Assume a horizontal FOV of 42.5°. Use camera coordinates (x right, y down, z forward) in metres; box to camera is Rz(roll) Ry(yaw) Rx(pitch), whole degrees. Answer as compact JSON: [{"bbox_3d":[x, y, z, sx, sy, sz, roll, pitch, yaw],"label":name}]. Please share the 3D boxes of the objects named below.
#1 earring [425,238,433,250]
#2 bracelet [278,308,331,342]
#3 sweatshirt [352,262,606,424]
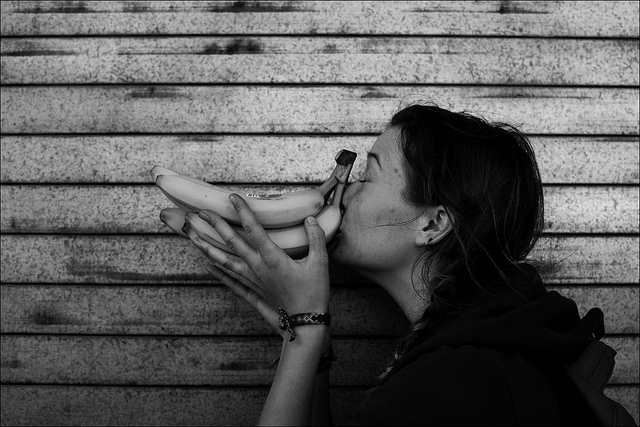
[{"bbox_3d":[0.595,0.166,4.484,0.040,0.058,0.051,8,72,14],"label":"earring"},{"bbox_3d":[-0.081,0.582,4.491,0.254,0.259,0.161,1,103,5],"label":"bracelet"},{"bbox_3d":[0.869,0.758,4.270,1.151,0.311,0.723,0,70,10],"label":"sweatshirt"}]
